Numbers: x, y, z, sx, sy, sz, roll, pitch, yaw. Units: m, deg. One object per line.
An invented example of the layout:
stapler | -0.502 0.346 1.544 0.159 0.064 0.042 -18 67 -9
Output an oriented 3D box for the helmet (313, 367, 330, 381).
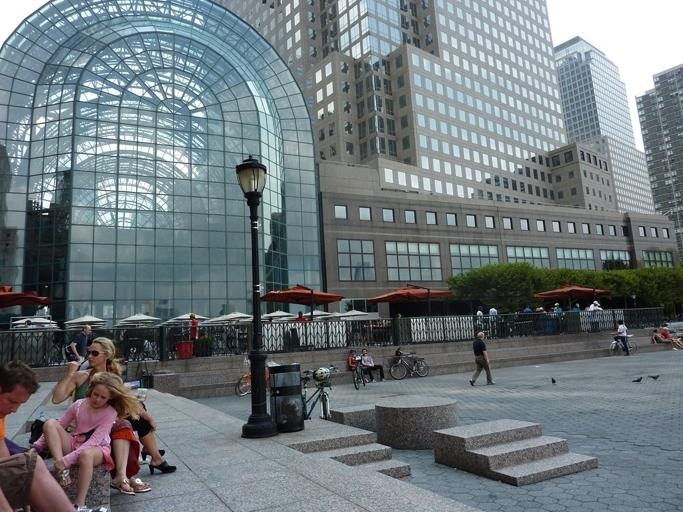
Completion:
helmet | -0.478 2.944 12.097 0.348 0.343 0.591 -1 -7 -10

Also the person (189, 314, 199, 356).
person | -6.507 3.611 21.672 0.378 1.533 0.840 0 -9 -17

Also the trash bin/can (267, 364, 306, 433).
trash bin/can | -1.134 2.908 10.099 0.678 1.297 0.695 -1 -8 -8

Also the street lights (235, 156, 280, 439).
street lights | -1.788 0.606 10.235 0.697 5.920 0.924 -1 -9 -12

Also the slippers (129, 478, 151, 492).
slippers | -2.789 3.153 6.751 0.295 0.099 0.147 -8 -13 33

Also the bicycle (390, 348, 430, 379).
bicycle | 3.069 5.077 22.597 2.048 1.077 0.961 8 -33 -18

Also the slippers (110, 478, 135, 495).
slippers | -2.943 3.139 6.636 0.371 0.134 0.170 0 -16 28

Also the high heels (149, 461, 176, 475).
high heels | -2.716 3.234 7.495 0.436 0.149 0.200 -2 -5 -11

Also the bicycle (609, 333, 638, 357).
bicycle | 16.995 5.381 29.802 2.296 1.127 0.961 7 -16 -27
